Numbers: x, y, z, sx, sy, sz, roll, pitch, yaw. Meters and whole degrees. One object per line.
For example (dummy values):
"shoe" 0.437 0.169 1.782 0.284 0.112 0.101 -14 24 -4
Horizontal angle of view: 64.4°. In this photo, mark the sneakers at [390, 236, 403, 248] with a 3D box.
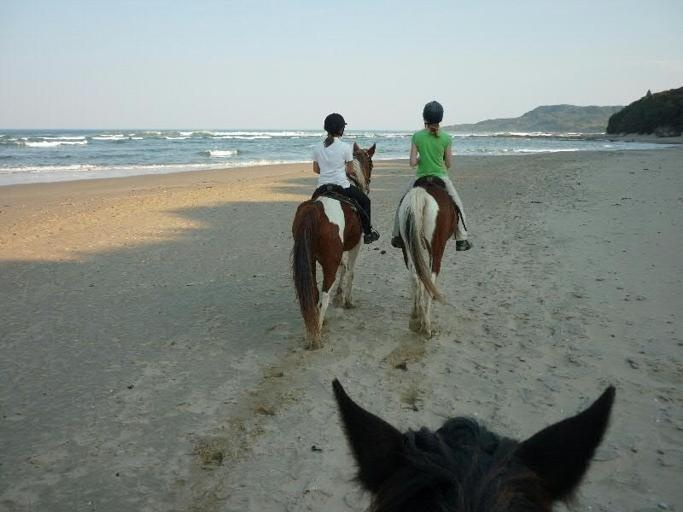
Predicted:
"sneakers" 0.799 -0.179 7.844 0.080 0.225 0.166 4 -12 -24

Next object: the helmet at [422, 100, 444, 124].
"helmet" 1.178 -1.828 6.988 0.230 0.300 0.460 -4 17 7

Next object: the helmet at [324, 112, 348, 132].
"helmet" -0.093 -1.728 7.096 0.244 0.248 0.467 -6 17 -1

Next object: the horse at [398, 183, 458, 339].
"horse" 1.092 -0.026 7.146 0.618 1.891 1.304 0 20 18
